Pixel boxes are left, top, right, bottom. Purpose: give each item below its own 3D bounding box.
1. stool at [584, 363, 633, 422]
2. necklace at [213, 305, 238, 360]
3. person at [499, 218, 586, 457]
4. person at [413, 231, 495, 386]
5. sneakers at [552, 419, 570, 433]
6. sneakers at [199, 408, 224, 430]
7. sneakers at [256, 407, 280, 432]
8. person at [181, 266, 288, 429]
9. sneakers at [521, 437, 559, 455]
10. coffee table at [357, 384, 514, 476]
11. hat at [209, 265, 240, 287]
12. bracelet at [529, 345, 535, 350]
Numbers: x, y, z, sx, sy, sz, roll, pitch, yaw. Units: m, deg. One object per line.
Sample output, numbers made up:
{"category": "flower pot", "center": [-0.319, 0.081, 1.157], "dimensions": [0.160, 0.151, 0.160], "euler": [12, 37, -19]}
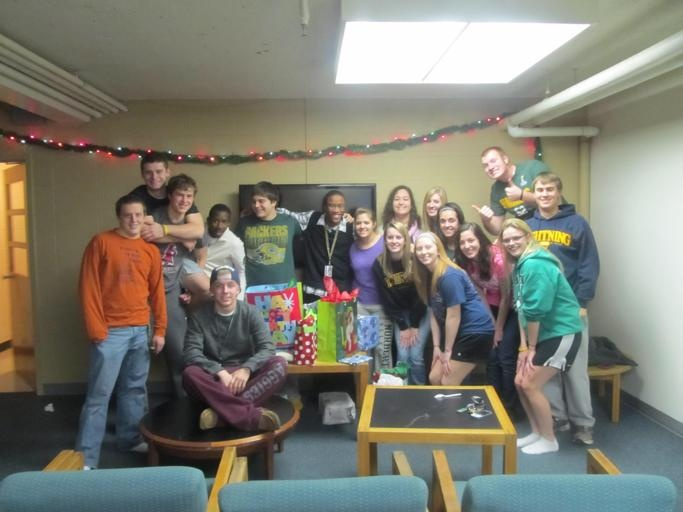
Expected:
{"category": "stool", "center": [2.336, 1.178, 5.021], "dimensions": [0.476, 0.337, 0.471], "euler": [-2, -4, 20]}
{"category": "necklace", "center": [-0.942, 0.645, 4.491], "dimensions": [0.114, 0.323, 0.463], "euler": [14, 0, -12]}
{"category": "person", "center": [1.499, 0.610, 4.337], "dimensions": [0.606, 1.768, 0.358], "euler": [2, 8, 19]}
{"category": "person", "center": [0.973, 0.477, 5.034], "dimensions": [0.715, 1.354, 0.352], "euler": [2, 8, 18]}
{"category": "sneakers", "center": [1.773, 1.376, 4.616], "dimensions": [0.141, 0.103, 0.076], "euler": [0, 1, -32]}
{"category": "sneakers", "center": [-0.912, 1.136, 3.943], "dimensions": [0.150, 0.138, 0.077], "euler": [-2, 8, -14]}
{"category": "sneakers", "center": [-0.513, 1.138, 3.968], "dimensions": [0.166, 0.101, 0.120], "euler": [8, 7, 39]}
{"category": "person", "center": [-0.804, 0.686, 4.209], "dimensions": [0.783, 1.084, 1.149], "euler": [-3, 6, -24]}
{"category": "sneakers", "center": [1.518, 1.448, 4.330], "dimensions": [0.239, 0.090, 0.122], "euler": [-2, 4, 3]}
{"category": "coffee table", "center": [0.580, 0.956, 3.767], "dimensions": [0.747, 0.520, 0.725], "euler": [-1, 3, 1]}
{"category": "hat", "center": [-0.932, 0.193, 4.432], "dimensions": [0.238, 0.155, 0.229], "euler": [-2, 6, -6]}
{"category": "bracelet", "center": [1.441, 0.695, 4.300], "dimensions": [0.025, 0.023, 0.023], "euler": [-9, 37, 13]}
